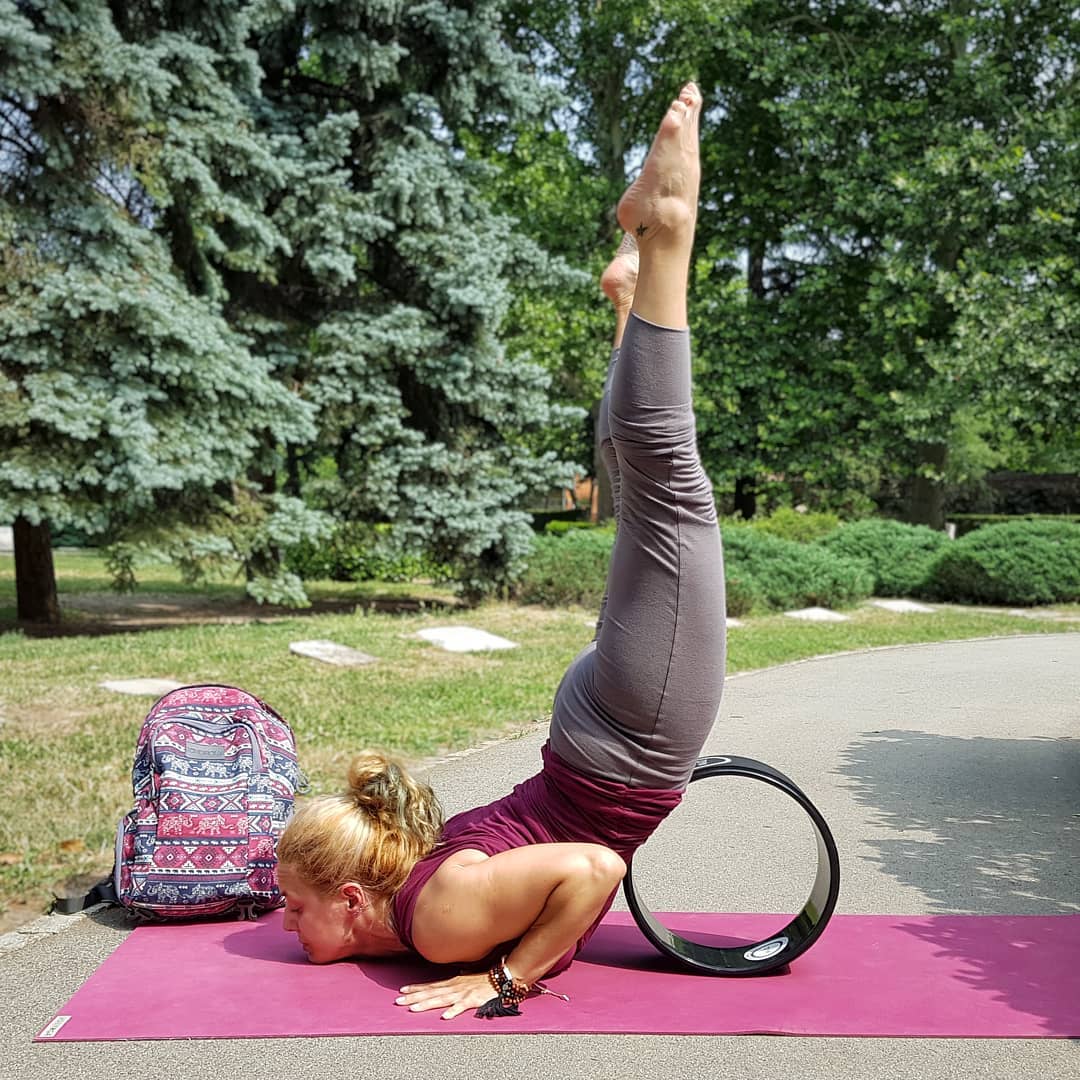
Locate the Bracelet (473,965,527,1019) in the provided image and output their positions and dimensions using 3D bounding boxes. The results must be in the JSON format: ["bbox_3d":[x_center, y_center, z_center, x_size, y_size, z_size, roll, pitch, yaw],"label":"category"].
[{"bbox_3d":[-0.132,1.634,5.097,0.224,0.149,0.088,-29,-7,8],"label":"Bracelet"}]

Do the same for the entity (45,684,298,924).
[{"bbox_3d":[-1.297,1.121,6.579,1.041,1.055,1.314,-8,-4,6],"label":"entity"}]

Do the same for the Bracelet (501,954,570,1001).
[{"bbox_3d":[-0.056,1.621,5.118,0.268,0.086,0.172,17,-4,0],"label":"Bracelet"}]
